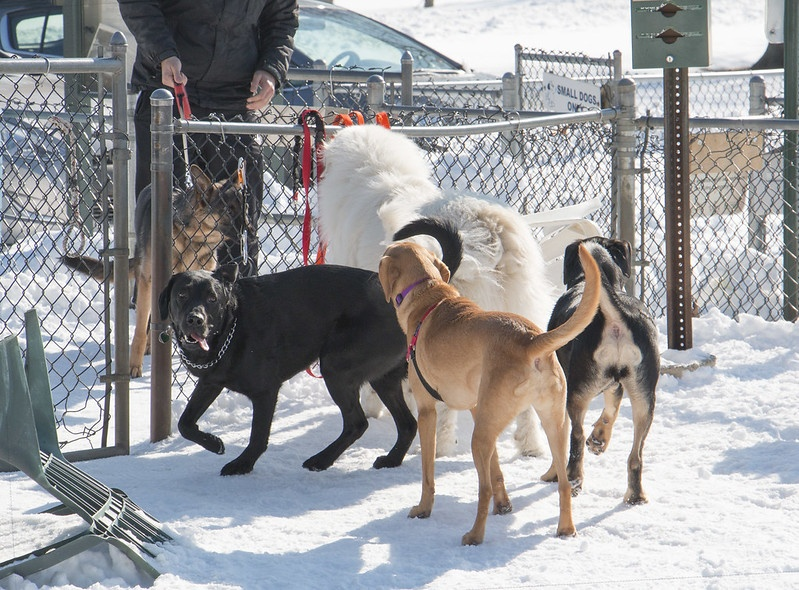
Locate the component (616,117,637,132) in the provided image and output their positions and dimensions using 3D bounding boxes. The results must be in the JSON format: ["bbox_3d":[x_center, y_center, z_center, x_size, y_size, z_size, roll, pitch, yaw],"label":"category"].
[{"bbox_3d":[1.671,-1.271,9.627,0.094,0.084,0.102,-1,8,-12],"label":"component"}]

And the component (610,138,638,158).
[{"bbox_3d":[1.664,-1.093,9.654,0.139,0.158,0.144,0,4,-13],"label":"component"}]
